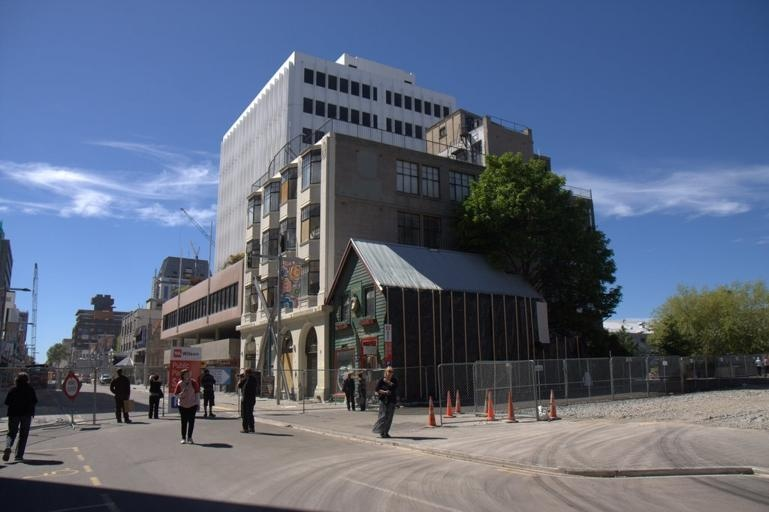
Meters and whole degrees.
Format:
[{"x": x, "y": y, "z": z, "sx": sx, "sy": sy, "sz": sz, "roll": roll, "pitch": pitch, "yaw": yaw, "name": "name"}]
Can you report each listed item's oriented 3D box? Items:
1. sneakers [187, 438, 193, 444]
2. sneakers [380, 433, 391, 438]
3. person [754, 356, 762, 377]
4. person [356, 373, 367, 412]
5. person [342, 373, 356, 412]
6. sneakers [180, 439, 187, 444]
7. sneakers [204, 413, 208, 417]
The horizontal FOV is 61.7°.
[{"x": -6.837, "y": 6.508, "z": 22.737, "sx": 0.211, "sy": 0.179, "sz": 0.352, "roll": 3, "pitch": -15, "yaw": -18, "name": "sneakers"}, {"x": 0.017, "y": 6.691, "z": 24.038, "sx": 0.362, "sy": 0.269, "sz": 0.128, "roll": 1, "pitch": -6, "yaw": -18, "name": "sneakers"}, {"x": 29.241, "y": 8.534, "z": 50.275, "sx": 0.318, "sy": 1.495, "sz": 1.880, "roll": -11, "pitch": -17, "yaw": 37, "name": "person"}, {"x": -1.260, "y": 7.431, "z": 35.533, "sx": 0.435, "sy": 2.105, "sz": 0.976, "roll": -1, "pitch": -13, "yaw": 2, "name": "person"}, {"x": -1.956, "y": 7.566, "z": 36.015, "sx": 0.546, "sy": 1.988, "sz": 0.979, "roll": 0, "pitch": -13, "yaw": -4, "name": "person"}, {"x": -7.101, "y": 6.572, "z": 22.837, "sx": 0.159, "sy": 0.196, "sz": 0.482, "roll": 9, "pitch": -24, "yaw": -34, "name": "sneakers"}, {"x": -8.968, "y": 7.997, "z": 32.314, "sx": 0.107, "sy": 0.207, "sz": 0.199, "roll": -14, "pitch": -16, "yaw": 37, "name": "sneakers"}]
